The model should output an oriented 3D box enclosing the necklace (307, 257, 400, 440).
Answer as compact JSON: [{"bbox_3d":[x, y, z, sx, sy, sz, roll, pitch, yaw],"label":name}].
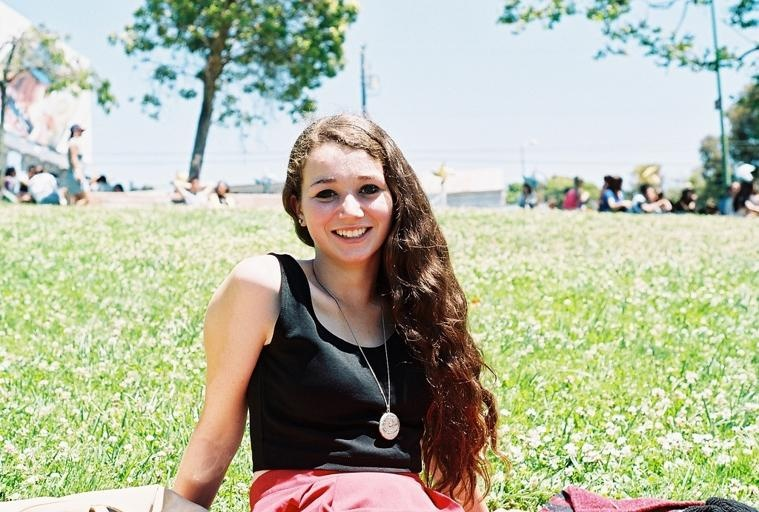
[{"bbox_3d":[-0.077,0.499,3.479,0.575,0.781,0.313,8,8,34],"label":"necklace"}]
